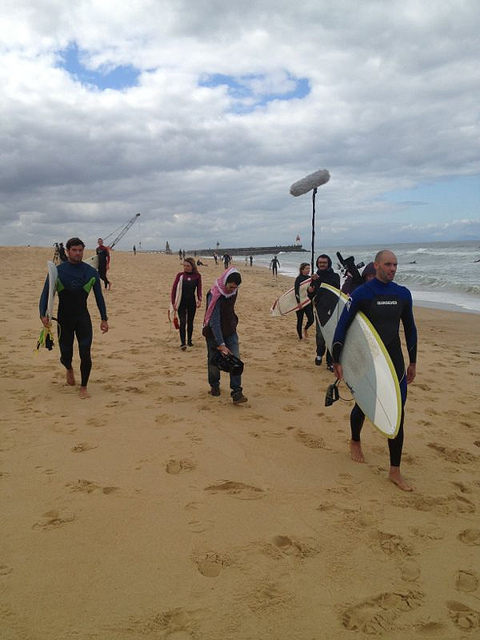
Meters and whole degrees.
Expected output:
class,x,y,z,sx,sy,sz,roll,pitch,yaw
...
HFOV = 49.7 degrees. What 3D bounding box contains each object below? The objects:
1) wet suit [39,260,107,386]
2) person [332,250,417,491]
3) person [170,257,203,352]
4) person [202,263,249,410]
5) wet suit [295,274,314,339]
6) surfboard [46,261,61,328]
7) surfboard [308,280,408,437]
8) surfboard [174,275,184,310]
class,x,y,z,sx,sy,sz,roll,pitch,yaw
wet suit,-1.512,0.024,4.918,0.468,1.157,0.436,4,11,1
person,0.927,0.301,3.541,0.648,1.534,0.516,2,5,26
person,-0.781,-0.266,7.521,0.427,1.338,1.230,3,11,-5
person,-0.127,0.098,5.245,0.484,1.335,1.200,3,11,-4
wet suit,0.977,-0.188,7.908,0.324,1.060,1.107,6,11,7
surfboard,-1.745,-0.222,4.845,0.127,0.652,0.505,0,11,-20
surfboard,0.883,0.312,3.892,0.315,1.070,1.093,-37,-34,3
surfboard,-0.829,-0.391,7.060,0.105,0.438,0.118,3,11,-7
